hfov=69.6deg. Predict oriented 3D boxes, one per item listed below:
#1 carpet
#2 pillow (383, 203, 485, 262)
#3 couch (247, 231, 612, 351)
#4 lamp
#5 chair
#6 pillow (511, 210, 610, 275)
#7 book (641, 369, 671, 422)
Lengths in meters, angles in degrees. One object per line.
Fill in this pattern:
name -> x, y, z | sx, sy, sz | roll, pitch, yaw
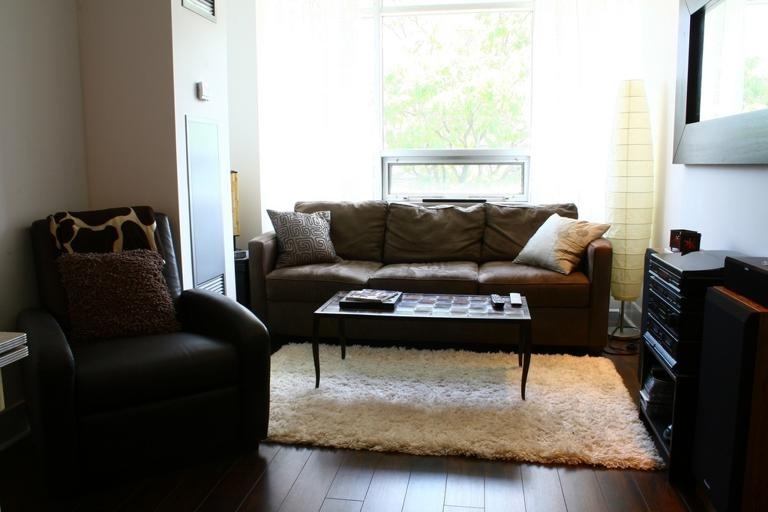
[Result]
carpet -> 0.161, 0.933, 4.615 | 2.023, 0.061, 3.443 | -9, 0, 4
pillow -> 0.441, -0.202, 4.931 | 0.890, 0.559, 0.327 | 0, 21, 7
couch -> 0.356, 0.247, 4.690 | 2.848, 1.084, 0.976 | 1, 1, 9
lamp -> 1.989, -0.523, 4.454 | 0.316, 1.733, 0.371 | 4, 14, 22
chair -> -1.514, 0.427, 3.346 | 1.267, 1.315, 1.508 | -4, 7, -29
pillow -> 1.397, -0.103, 4.395 | 0.487, 0.377, 0.557 | -10, 15, -33
book -> 1.596, 0.794, 3.238 | 0.155, 0.237, 0.204 | 4, 14, 21
